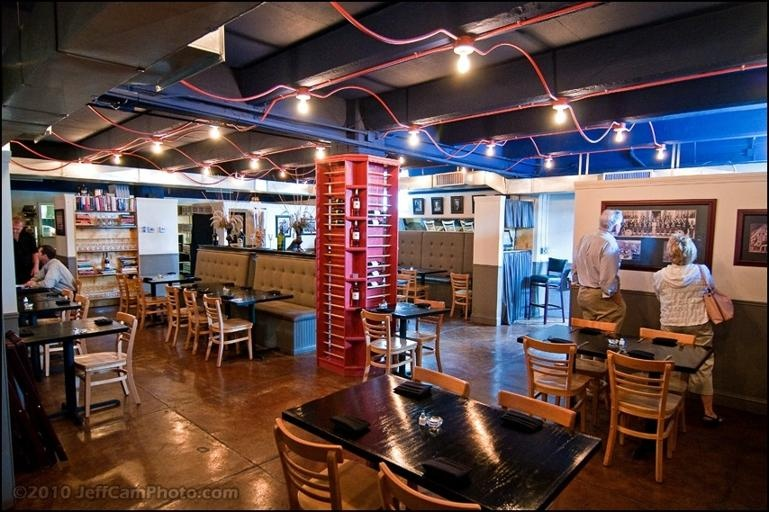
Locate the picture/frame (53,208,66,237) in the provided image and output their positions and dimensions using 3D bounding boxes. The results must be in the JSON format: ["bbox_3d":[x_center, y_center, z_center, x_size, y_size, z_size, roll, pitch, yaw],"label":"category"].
[{"bbox_3d":[-6.654,-0.714,10.561,0.589,0.552,0.014,2,4,43],"label":"picture/frame"}]

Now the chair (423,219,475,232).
[{"bbox_3d":[1.646,-0.830,13.400,0.999,0.398,2.336,-1,2,-5],"label":"chair"}]

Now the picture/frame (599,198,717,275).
[{"bbox_3d":[3.750,-0.266,6.958,1.260,0.900,0.065,-1,1,41],"label":"picture/frame"}]

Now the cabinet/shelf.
[{"bbox_3d":[-5.886,-0.186,10.857,1.133,1.976,0.268,-1,-24,-28],"label":"cabinet/shelf"}]

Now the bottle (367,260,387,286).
[{"bbox_3d":[-0.120,0.257,7.485,0.096,0.344,0.360,1,-3,41],"label":"bottle"}]

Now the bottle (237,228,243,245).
[{"bbox_3d":[-3.124,-0.417,11.154,0.122,0.361,0.670,-2,2,-17],"label":"bottle"}]

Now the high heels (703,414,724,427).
[{"bbox_3d":[3.960,1.981,6.181,0.284,0.073,0.096,-3,-3,-29],"label":"high heels"}]

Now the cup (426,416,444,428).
[{"bbox_3d":[0.446,1.470,4.527,0.095,0.047,0.089,-4,1,0],"label":"cup"}]
